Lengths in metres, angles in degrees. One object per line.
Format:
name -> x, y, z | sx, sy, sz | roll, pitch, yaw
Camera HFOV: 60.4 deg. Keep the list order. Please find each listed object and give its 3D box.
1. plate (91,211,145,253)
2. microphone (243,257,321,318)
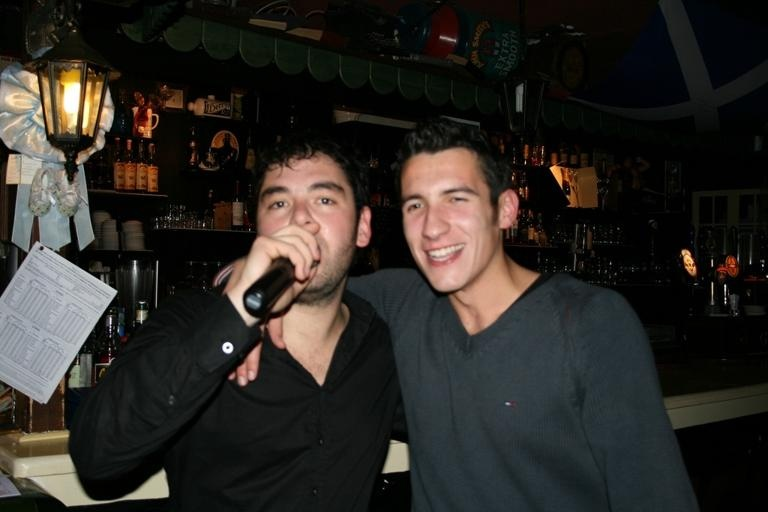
plate -> -2.638, -0.246, 6.638 | 0.468, 0.386, 0.355 | -1, -2, 0
microphone -> -0.404, 0.122, 2.494 | 0.097, 0.096, 0.341 | 0, 16, 15
